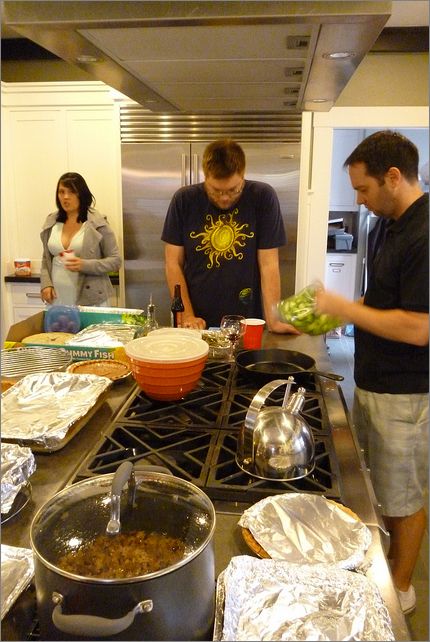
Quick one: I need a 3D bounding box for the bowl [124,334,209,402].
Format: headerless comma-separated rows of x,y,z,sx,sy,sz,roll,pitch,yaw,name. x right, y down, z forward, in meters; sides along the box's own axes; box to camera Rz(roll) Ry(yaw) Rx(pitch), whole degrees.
-0.148,0.126,1.283,0.225,0.165,0.305,4,7,-11,bowl

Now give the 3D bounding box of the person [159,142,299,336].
0.060,-0.393,2.210,0.644,0.894,0.594,4,7,-8,person

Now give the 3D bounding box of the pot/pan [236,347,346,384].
0.229,0.140,1.422,0.239,0.035,0.153,15,19,37,pot/pan

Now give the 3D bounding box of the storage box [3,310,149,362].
-0.541,0.037,1.719,0.490,0.153,0.432,5,7,0,storage box

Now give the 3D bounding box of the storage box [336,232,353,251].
1.755,-1.069,6.033,0.193,0.228,0.330,2,19,7,storage box

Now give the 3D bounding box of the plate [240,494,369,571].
0.135,0.317,0.682,0.191,0.037,0.157,8,8,21,plate

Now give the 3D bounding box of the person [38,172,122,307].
-1.029,-0.613,3.325,0.512,0.988,0.581,-2,10,-44,person

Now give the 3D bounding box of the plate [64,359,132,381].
-0.353,0.155,1.430,0.197,0.031,0.170,8,8,21,plate

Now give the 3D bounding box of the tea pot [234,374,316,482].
0.131,0.209,0.885,0.149,0.187,0.129,1,8,-29,tea pot

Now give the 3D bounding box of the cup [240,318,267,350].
0.147,0.051,1.751,0.100,0.106,0.105,0,17,0,cup

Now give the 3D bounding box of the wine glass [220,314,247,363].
0.067,0.054,1.696,0.093,0.146,0.237,7,7,10,wine glass
